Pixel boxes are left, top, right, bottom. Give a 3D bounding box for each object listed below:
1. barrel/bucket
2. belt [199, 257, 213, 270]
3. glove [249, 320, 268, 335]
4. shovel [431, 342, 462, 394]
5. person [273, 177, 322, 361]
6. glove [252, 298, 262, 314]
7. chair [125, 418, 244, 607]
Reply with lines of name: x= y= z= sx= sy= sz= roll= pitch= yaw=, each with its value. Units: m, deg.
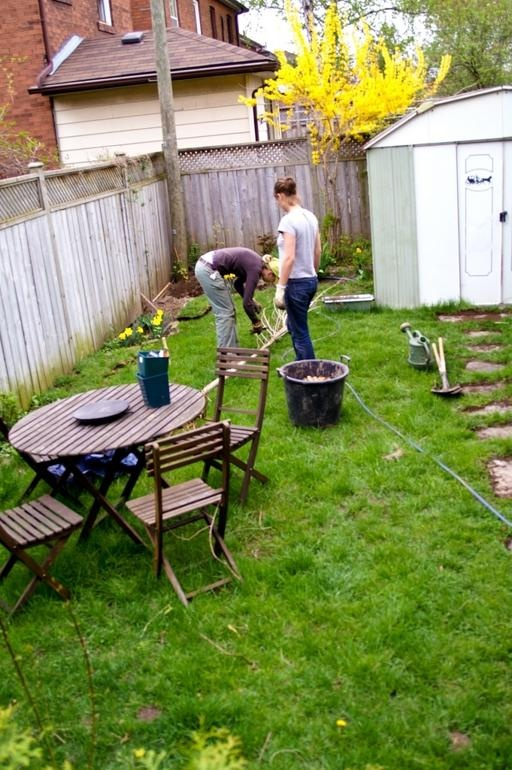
barrel/bucket: x=0.471 y=0.063 z=5.233 sx=0.604 sy=0.485 sz=0.550 roll=-2 pitch=17 yaw=1
belt: x=-0.506 y=-1.220 z=6.351 sx=0.109 sy=0.122 sz=0.202 roll=-10 pitch=14 yaw=-12
glove: x=0.013 y=-0.645 z=7.200 sx=0.158 sy=0.074 sz=0.205 roll=-4 pitch=-3 yaw=-7
shovel: x=1.709 y=-0.089 z=5.920 sx=0.214 sy=0.150 sz=0.652 roll=1 pitch=31 yaw=5
person: x=0.335 y=-0.982 z=5.567 sx=0.368 sy=1.574 sz=0.748 roll=-3 pitch=15 yaw=14
glove: x=0.005 y=-0.864 z=7.037 sx=0.080 sy=0.156 sz=0.306 roll=-15 pitch=4 yaw=2
chair: x=-0.377 y=0.598 z=3.296 sx=0.488 sy=0.802 sz=0.524 roll=-11 pitch=18 yaw=-29
